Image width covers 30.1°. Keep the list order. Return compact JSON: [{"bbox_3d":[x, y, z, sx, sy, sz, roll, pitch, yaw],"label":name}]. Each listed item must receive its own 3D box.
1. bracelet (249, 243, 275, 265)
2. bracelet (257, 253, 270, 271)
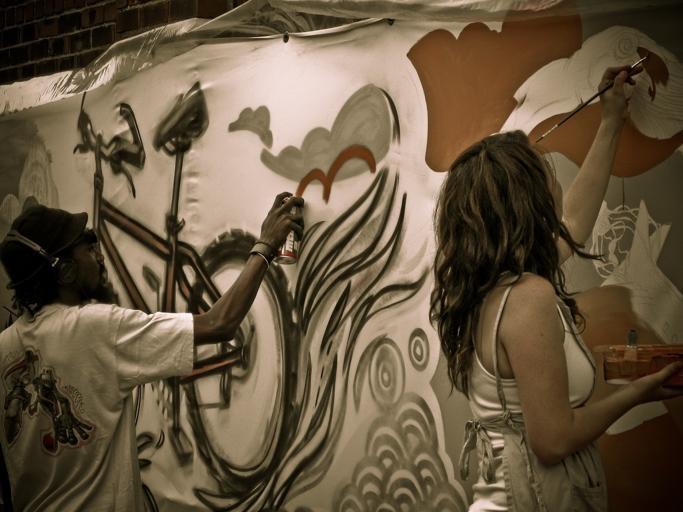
[{"bbox_3d":[-0.330,-0.020,5.317,0.081,0.066,0.093,13,-25,32],"label":"bracelet"},{"bbox_3d":[-0.319,0.017,5.270,0.014,0.063,0.057,-24,42,-10],"label":"bracelet"}]
